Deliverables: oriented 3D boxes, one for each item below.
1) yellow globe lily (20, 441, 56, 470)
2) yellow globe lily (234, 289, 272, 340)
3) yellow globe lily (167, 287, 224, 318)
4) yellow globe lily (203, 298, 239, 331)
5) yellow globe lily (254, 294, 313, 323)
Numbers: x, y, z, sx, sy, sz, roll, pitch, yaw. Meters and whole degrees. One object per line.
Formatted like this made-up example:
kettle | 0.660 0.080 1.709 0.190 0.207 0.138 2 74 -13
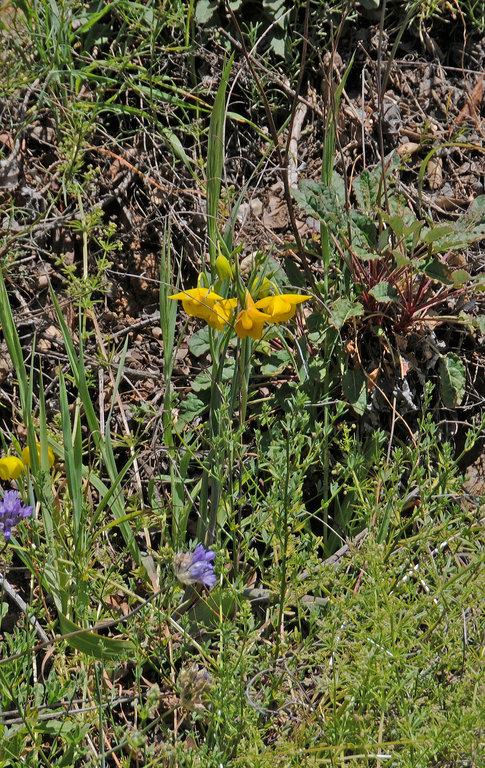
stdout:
yellow globe lily | -0.433 0.153 1.485 0.075 0.073 0.057 -13 100 -41
yellow globe lily | 0.018 -0.123 1.272 0.054 0.078 0.085 23 67 9
yellow globe lily | -0.089 -0.149 1.338 0.074 0.072 0.030 20 71 -40
yellow globe lily | -0.038 -0.135 1.310 0.049 0.042 0.051 15 66 5
yellow globe lily | 0.074 -0.148 1.333 0.072 0.070 0.035 -5 69 -53
